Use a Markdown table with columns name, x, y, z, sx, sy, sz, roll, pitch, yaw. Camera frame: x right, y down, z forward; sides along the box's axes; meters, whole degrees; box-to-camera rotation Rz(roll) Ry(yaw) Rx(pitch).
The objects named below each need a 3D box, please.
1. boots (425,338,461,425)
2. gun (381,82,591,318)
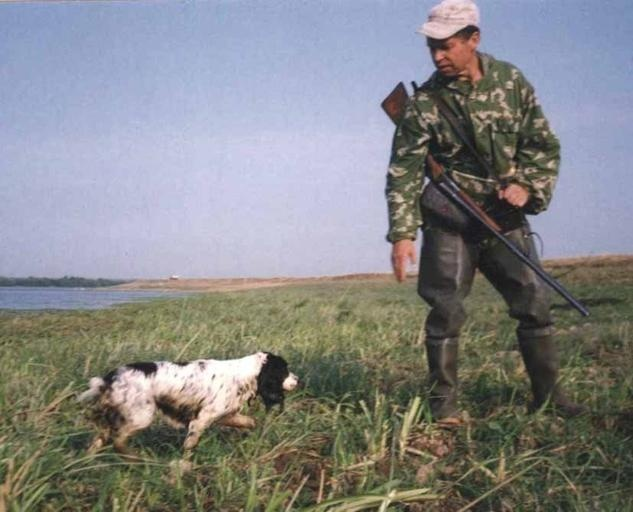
| name | x | y | z | sx | sy | sz | roll | pitch | yaw |
| --- | --- | --- | --- | --- | --- | --- | --- | --- | --- |
| boots | 0.826 | 0.832 | 4.089 | 0.287 | 0.486 | 0.247 | 9 | -3 | -31 |
| gun | 1.047 | -0.383 | 4.125 | 0.381 | 2.378 | 0.097 | -43 | -21 | 8 |
